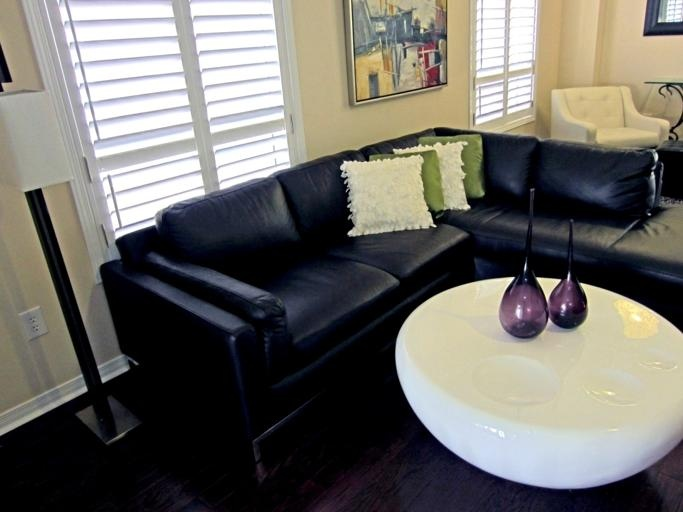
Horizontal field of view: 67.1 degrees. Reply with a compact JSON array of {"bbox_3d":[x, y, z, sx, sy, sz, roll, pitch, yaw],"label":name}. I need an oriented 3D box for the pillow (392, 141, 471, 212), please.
[{"bbox_3d":[0.584,-0.504,3.348,0.471,0.460,0.137,-4,5,16],"label":"pillow"}]

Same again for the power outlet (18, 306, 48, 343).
[{"bbox_3d":[-1.545,0.334,2.563,0.016,0.165,0.125,23,46,35],"label":"power outlet"}]

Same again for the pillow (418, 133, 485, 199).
[{"bbox_3d":[0.779,-0.588,3.653,0.440,0.425,0.443,-6,-9,11],"label":"pillow"}]

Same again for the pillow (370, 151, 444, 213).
[{"bbox_3d":[0.479,-0.452,3.489,0.421,0.424,0.191,-7,-8,-18],"label":"pillow"}]
